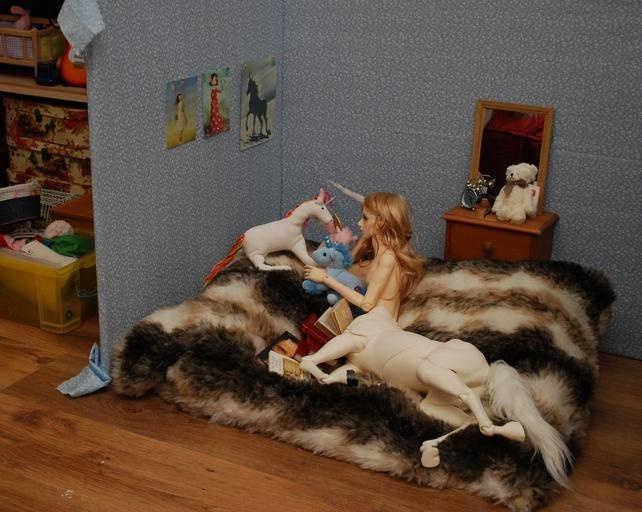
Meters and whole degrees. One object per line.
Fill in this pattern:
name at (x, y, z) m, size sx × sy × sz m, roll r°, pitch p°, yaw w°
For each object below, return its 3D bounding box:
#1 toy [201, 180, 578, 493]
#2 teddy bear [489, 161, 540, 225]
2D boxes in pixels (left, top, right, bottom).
toy at (0.271, 0.218, 2.733) m, size 0.652 × 0.799 × 1.542 m, roll -11°, pitch 23°, yaw -39°
teddy bear at (0.888, -0.300, 3.224) m, size 0.195 × 0.263 × 0.153 m, roll 11°, pitch 28°, yaw 32°
